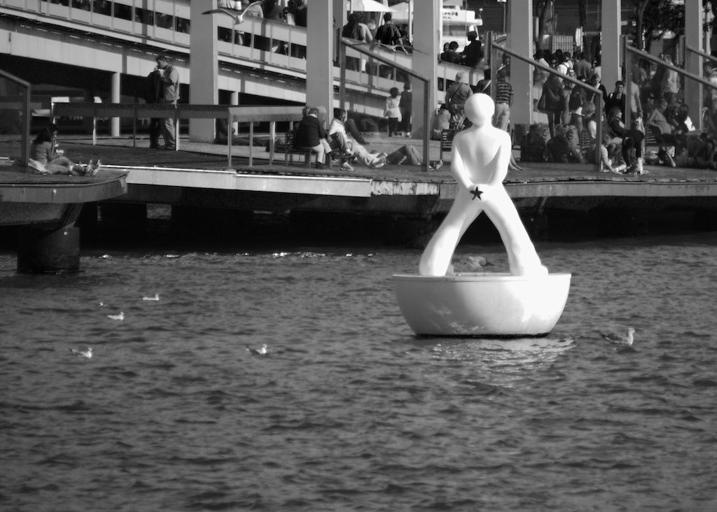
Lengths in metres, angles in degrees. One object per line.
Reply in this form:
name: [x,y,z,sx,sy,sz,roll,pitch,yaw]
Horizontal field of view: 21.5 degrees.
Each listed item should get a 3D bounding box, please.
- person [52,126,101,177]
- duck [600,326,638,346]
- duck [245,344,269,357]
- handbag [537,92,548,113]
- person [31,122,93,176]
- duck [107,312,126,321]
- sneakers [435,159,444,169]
person: [-4.383,-1.608,30.134,1.197,0.915,0.731,-1,-2,-9]
duck: [3.490,1.093,25.731,0.410,0.288,0.224,5,2,5]
duck: [-1.388,1.262,25.176,0.221,0.148,0.140,0,6,-5]
handbag: [3.472,-2.884,36.671,0.226,0.439,0.279,7,11,35]
person: [-4.851,-1.651,30.178,1.224,0.819,0.716,5,9,13]
duck: [-3.463,0.869,26.752,0.122,0.077,0.174,20,-4,15]
sneakers: [1.452,-1.680,35.966,0.147,0.203,0.074,5,-6,26]
